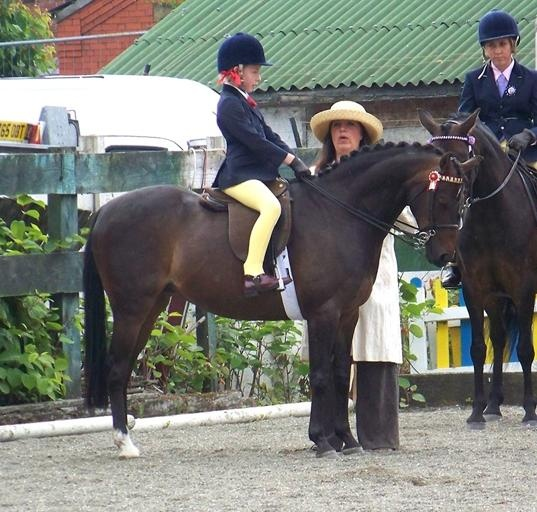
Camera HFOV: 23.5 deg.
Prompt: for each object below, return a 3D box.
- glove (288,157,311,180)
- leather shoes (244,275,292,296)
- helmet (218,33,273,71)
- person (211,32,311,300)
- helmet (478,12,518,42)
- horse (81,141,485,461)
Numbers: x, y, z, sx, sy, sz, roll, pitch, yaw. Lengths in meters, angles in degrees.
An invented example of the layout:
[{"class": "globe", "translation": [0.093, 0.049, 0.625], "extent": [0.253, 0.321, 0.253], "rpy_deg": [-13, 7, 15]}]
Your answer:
[{"class": "glove", "translation": [0.205, -0.572, 8.705], "extent": [0.050, 0.109, 0.148], "rpy_deg": [-32, -30, -2]}, {"class": "leather shoes", "translation": [-0.011, 0.175, 8.525], "extent": [0.307, 0.153, 0.120], "rpy_deg": [-11, 2, 4]}, {"class": "helmet", "translation": [-0.172, -1.372, 8.768], "extent": [0.320, 0.225, 0.212], "rpy_deg": [-3, 8, 6]}, {"class": "person", "translation": [-0.084, -0.639, 8.796], "extent": [0.593, 1.732, 0.581], "rpy_deg": [-1, 4, -13]}, {"class": "helmet", "translation": [1.713, -1.728, 9.686], "extent": [0.289, 0.276, 0.270], "rpy_deg": [-1, -15, 12]}, {"class": "horse", "translation": [-0.005, 0.308, 8.887], "extent": [2.672, 2.296, 0.722], "rpy_deg": [-1, 4, 7]}]
